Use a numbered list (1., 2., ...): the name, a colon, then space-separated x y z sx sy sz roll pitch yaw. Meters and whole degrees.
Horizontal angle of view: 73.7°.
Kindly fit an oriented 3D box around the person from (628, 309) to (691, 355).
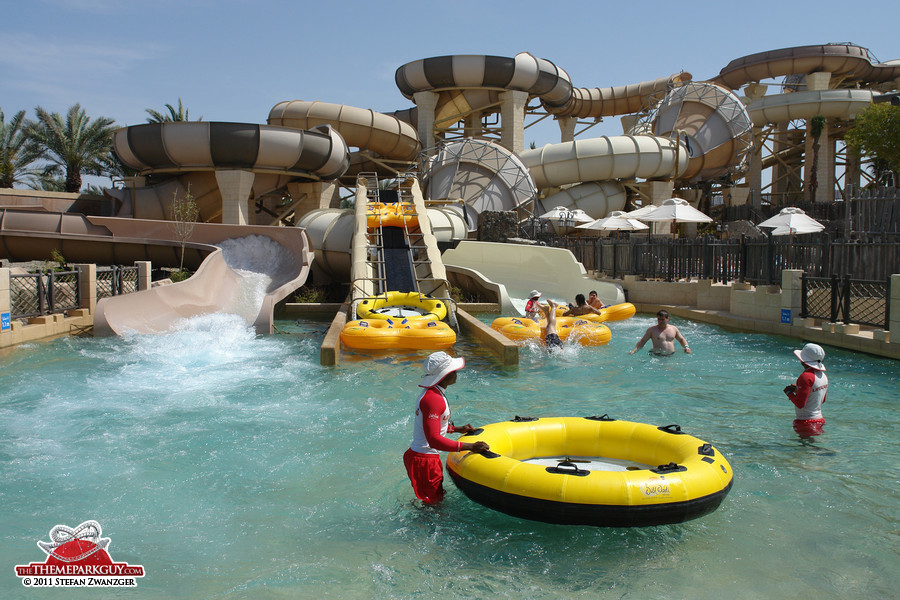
1. person: 4.714 0.665 13.211 1.036 1.080 1.421 5 13 25

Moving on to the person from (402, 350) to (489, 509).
1. person: -0.074 1.663 7.528 0.917 0.668 1.818 -9 -31 -3

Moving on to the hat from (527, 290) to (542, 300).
1. hat: 2.377 -0.161 16.976 0.421 0.164 0.500 -2 2 -13

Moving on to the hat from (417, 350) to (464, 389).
1. hat: -0.116 0.742 6.348 0.478 0.196 0.359 -17 9 42

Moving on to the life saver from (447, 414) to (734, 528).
1. life saver: 1.518 1.845 6.572 2.821 0.621 1.469 1 11 5

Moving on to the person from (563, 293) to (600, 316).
1. person: 3.636 0.073 16.813 0.740 0.377 0.864 1 6 6

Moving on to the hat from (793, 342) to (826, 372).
1. hat: 4.893 0.744 8.161 0.335 0.394 0.468 6 14 28
